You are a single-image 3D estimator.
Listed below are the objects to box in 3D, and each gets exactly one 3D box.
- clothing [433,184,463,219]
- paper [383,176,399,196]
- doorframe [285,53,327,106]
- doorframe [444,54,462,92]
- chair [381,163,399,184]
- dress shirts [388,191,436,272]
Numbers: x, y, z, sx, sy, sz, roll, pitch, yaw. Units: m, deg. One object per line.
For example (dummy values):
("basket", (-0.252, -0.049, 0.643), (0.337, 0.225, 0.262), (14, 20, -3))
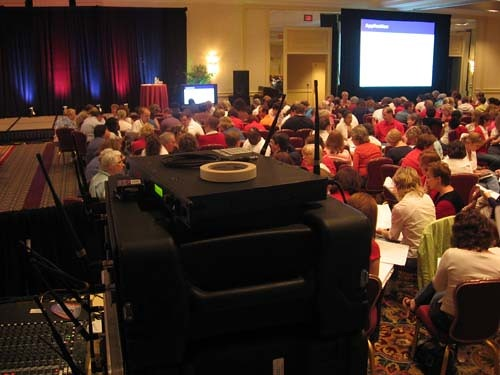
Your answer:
("clothing", (1.737, 0.106, 3.673), (0.253, 0.395, 0.264), (-2, 1, -6))
("paper", (1.393, -0.039, 3.951), (0.140, 0.057, 0.147), (-10, 37, -39))
("doorframe", (2.785, -4.734, 18.311), (0.141, 2.418, 1.907), (27, 32, 30))
("doorframe", (10.319, -5.722, 20.179), (1.034, 1.765, 1.115), (-4, 7, -16))
("chair", (1.621, -0.190, 4.727), (0.156, 0.319, 0.199), (4, 22, 19))
("dress shirts", (1.384, 0.348, 3.401), (0.338, 0.568, 0.307), (-2, 9, -10))
